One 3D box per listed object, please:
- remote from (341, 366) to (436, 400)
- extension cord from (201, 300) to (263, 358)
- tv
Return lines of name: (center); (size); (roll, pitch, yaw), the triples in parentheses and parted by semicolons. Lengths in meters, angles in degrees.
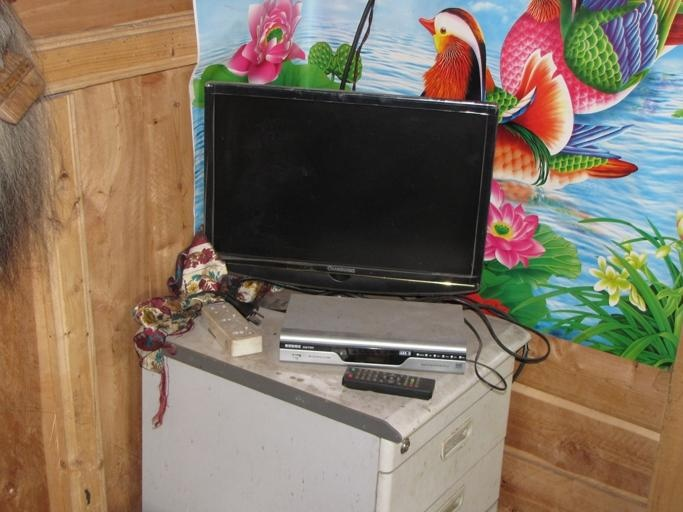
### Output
remote: (0.106, 0.279, 1.379); (0.204, 0.029, 0.070); (8, 31, 7)
extension cord: (-0.265, 0.178, 1.492); (0.093, 0.049, 0.206); (-11, 35, -32)
tv: (0.005, -0.153, 1.534); (0.720, 0.475, 0.147); (6, 29, 5)
